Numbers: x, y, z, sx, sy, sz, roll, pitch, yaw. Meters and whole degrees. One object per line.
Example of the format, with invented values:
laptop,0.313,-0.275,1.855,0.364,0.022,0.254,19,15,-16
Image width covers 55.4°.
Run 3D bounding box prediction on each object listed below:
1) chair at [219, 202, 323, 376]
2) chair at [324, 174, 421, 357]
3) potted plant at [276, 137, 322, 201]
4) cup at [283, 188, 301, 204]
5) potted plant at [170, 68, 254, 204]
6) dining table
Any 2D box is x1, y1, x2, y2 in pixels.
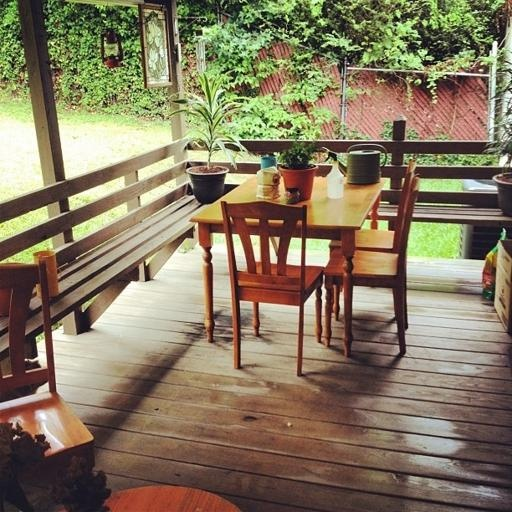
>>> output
chair,0.089,0.129,2.724,0.569,0.981,0.567,2,22,6
chair,0.675,0.031,2.938,0.532,1.020,0.655,5,22,14
potted plant,0.190,-0.556,3.103,0.404,0.385,0.359,-1,7,-1
cup,0.224,-0.363,2.961,0.105,0.082,0.095,0,11,10
potted plant,-0.447,-1.031,4.449,0.897,1.084,0.737,0,17,2
dining table,0.271,-0.041,3.241,0.943,0.627,1.376,4,16,17
